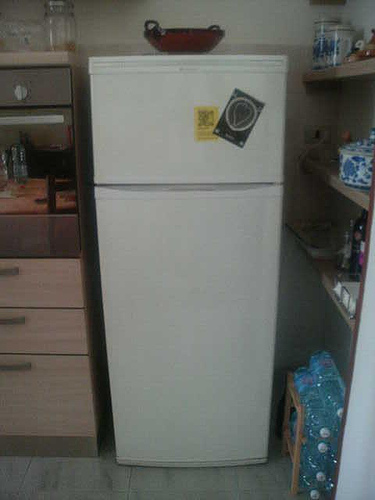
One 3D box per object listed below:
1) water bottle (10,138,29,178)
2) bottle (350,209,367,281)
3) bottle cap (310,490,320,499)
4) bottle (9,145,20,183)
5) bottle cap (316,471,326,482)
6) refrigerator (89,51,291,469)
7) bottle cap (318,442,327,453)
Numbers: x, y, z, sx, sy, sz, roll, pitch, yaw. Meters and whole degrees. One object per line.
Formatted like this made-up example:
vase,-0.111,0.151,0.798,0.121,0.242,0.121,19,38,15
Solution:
water bottle,-0.542,-0.299,1.427,0.050,0.122,0.028,-5,19,-10
bottle,0.502,-0.011,1.312,0.034,0.217,0.101,6,20,19
bottle cap,0.431,0.827,1.502,0.023,0.019,0.026,-4,-12,6
bottle,-0.560,-0.282,1.432,0.038,0.114,0.020,0,19,5
bottle cap,0.438,0.744,1.458,0.031,0.022,0.032,11,-20,-7
refrigerator,0.005,0.045,1.656,0.576,1.427,0.454,0,17,0
bottle cap,0.423,0.617,1.388,0.025,0.020,0.026,-1,-7,-2
